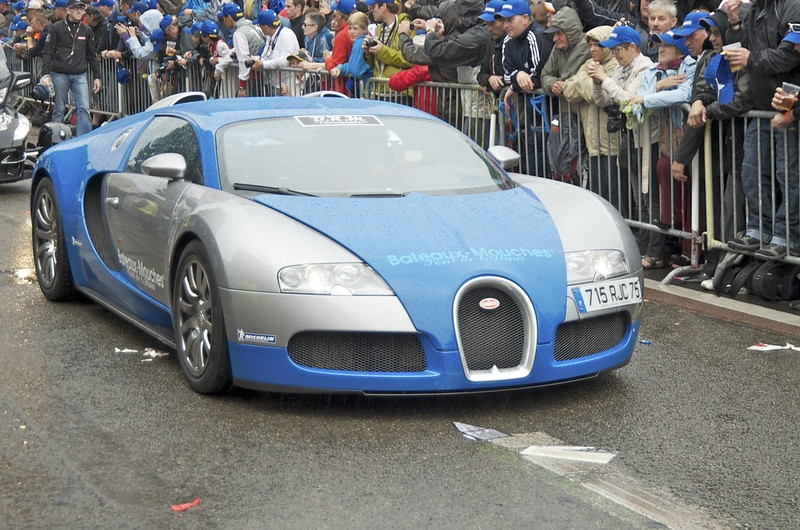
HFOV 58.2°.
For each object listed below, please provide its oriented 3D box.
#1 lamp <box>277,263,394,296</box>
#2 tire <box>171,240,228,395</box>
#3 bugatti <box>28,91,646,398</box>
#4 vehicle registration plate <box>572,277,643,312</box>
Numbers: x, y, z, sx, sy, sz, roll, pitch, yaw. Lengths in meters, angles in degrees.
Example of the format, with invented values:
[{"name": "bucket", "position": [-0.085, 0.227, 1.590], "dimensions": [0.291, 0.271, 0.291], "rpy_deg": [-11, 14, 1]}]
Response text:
[{"name": "lamp", "position": [-0.402, 0.095, 4.517], "dimensions": [0.718, 0.161, 0.140], "rpy_deg": [0, 14, -2]}, {"name": "tire", "position": [-1.387, 0.381, 5.000], "dimensions": [0.382, 1.183, 0.680], "rpy_deg": [2, -1, -15]}, {"name": "bugatti", "position": [-1.187, -0.448, 6.959], "dimensions": [3.310, 1.985, 5.935], "rpy_deg": [-3, 12, -37]}, {"name": "vehicle registration plate", "position": [1.440, 0.210, 4.962], "dimensions": [0.696, 0.203, 0.080], "rpy_deg": [-9, 16, -31]}]
